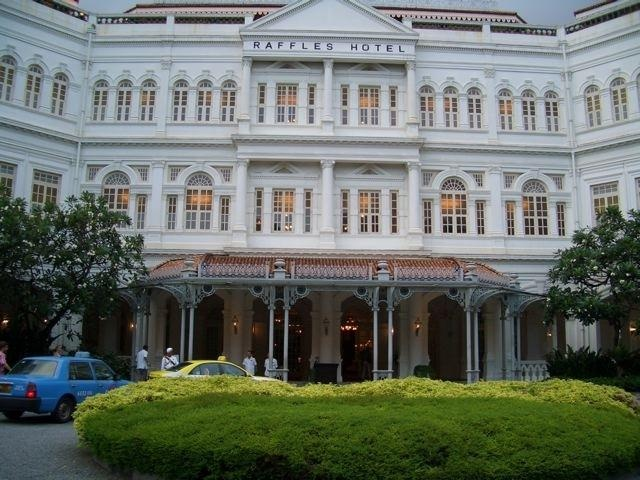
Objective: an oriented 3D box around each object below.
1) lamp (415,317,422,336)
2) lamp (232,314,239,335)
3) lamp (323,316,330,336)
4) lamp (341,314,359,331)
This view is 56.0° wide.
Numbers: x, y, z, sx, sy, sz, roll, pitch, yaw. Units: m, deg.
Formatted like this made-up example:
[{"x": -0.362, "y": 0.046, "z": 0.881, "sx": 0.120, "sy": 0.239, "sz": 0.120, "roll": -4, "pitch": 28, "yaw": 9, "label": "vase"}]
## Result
[{"x": 4.910, "y": 4.326, "z": 30.033, "sx": 0.347, "sy": 0.862, "sz": 0.125, "roll": 2, "pitch": -4, "yaw": 4, "label": "lamp"}, {"x": -4.282, "y": 4.219, "z": 30.188, "sx": 0.335, "sy": 0.924, "sz": 0.149, "roll": 2, "pitch": -4, "yaw": -7, "label": "lamp"}, {"x": 0.293, "y": 4.270, "z": 29.884, "sx": 0.332, "sy": 0.915, "sz": 0.109, "roll": 3, "pitch": -4, "yaw": -18, "label": "lamp"}, {"x": 1.697, "y": 4.779, "z": 34.372, "sx": 0.968, "sy": 0.798, "sz": 0.869, "roll": 1, "pitch": -12, "yaw": -2, "label": "lamp"}]
